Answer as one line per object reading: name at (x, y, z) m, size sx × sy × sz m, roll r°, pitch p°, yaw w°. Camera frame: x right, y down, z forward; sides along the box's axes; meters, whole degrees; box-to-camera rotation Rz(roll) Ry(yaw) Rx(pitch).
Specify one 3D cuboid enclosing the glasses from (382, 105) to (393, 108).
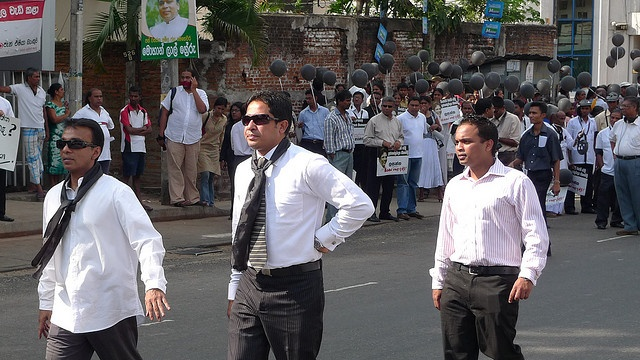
glasses at (1.547, -1.714, 16.624) m, size 0.243 × 0.075 × 0.101 m, roll 0°, pitch 8°, yaw 4°

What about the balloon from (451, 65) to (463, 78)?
balloon at (4.204, -3.329, 22.297) m, size 0.305 × 0.386 × 0.504 m, roll 1°, pitch 8°, yaw 10°

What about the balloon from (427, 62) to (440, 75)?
balloon at (3.584, -3.469, 22.483) m, size 0.374 × 0.395 × 0.360 m, roll -4°, pitch 9°, yaw 11°

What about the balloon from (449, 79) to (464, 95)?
balloon at (3.872, -2.679, 20.760) m, size 0.462 × 0.418 × 0.226 m, roll 2°, pitch -6°, yaw -6°

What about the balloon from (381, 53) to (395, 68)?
balloon at (2.012, -3.577, 21.601) m, size 0.415 × 0.443 × 0.393 m, roll 0°, pitch 0°, yaw -11°

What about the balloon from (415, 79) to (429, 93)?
balloon at (2.993, -2.742, 21.100) m, size 0.399 × 0.424 × 0.388 m, roll 3°, pitch 12°, yaw 16°

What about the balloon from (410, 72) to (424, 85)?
balloon at (2.988, -3.146, 22.234) m, size 0.387 × 0.362 × 0.414 m, roll -1°, pitch 6°, yaw 5°

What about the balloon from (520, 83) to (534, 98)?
balloon at (6.001, -2.609, 20.991) m, size 0.362 × 0.454 × 0.485 m, roll -10°, pitch -16°, yaw 34°

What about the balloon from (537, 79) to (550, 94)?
balloon at (6.899, -2.884, 22.263) m, size 0.457 × 0.480 × 0.444 m, roll 6°, pitch 11°, yaw 16°

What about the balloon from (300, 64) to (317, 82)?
balloon at (-0.309, -2.949, 19.750) m, size 0.423 × 0.467 × 0.399 m, roll -1°, pitch 26°, yaw 0°

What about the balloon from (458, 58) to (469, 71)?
balloon at (4.820, -3.844, 24.000) m, size 0.445 × 0.348 × 0.419 m, roll -2°, pitch -3°, yaw -5°

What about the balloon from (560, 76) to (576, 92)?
balloon at (7.971, -3.150, 23.224) m, size 0.502 × 0.311 × 0.486 m, roll 7°, pitch -6°, yaw 13°

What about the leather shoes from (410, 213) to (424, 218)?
leather shoes at (2.396, 0.853, 17.608) m, size 0.374 × 0.146 × 0.120 m, roll 4°, pitch 17°, yaw -4°

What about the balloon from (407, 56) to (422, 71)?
balloon at (2.928, -3.622, 22.477) m, size 0.406 × 0.492 × 0.686 m, roll 0°, pitch 8°, yaw 5°

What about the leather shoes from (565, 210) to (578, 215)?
leather shoes at (6.569, 0.835, 18.855) m, size 0.283 × 0.108 × 0.111 m, roll 0°, pitch 3°, yaw 22°

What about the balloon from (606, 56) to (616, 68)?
balloon at (11.086, -4.517, 27.586) m, size 0.422 × 0.499 × 0.534 m, roll 4°, pitch 7°, yaw 10°

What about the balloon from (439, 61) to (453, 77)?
balloon at (3.989, -3.486, 22.667) m, size 0.438 × 0.470 × 0.415 m, roll -1°, pitch -6°, yaw -3°

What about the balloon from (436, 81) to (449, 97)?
balloon at (3.523, -2.612, 20.769) m, size 0.369 × 0.292 × 0.384 m, roll -12°, pitch 43°, yaw 38°

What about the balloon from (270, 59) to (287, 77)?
balloon at (-1.086, -3.045, 19.698) m, size 0.486 × 0.534 × 0.461 m, roll -10°, pitch 20°, yaw -21°

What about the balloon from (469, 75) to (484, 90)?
balloon at (4.681, -2.929, 21.597) m, size 0.447 × 0.405 × 0.235 m, roll 10°, pitch 2°, yaw 3°

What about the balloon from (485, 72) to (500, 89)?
balloon at (5.261, -3.041, 22.090) m, size 0.429 × 0.516 × 0.527 m, roll 1°, pitch 8°, yaw 12°

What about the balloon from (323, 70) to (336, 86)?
balloon at (0.289, -2.792, 19.654) m, size 0.381 × 0.401 × 0.367 m, roll -3°, pitch 4°, yaw 10°

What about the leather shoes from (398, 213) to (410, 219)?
leather shoes at (2.014, 0.866, 17.384) m, size 0.125 × 0.101 × 0.252 m, roll 1°, pitch -3°, yaw -29°

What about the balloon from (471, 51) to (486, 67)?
balloon at (5.358, -4.113, 24.412) m, size 0.498 × 0.343 × 0.488 m, roll -3°, pitch 5°, yaw 21°

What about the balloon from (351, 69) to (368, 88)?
balloon at (1.088, -2.779, 19.592) m, size 0.475 × 0.505 × 0.452 m, roll -6°, pitch 24°, yaw 5°

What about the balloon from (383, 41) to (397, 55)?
balloon at (2.245, -4.183, 23.091) m, size 0.487 × 0.512 × 0.465 m, roll 4°, pitch -8°, yaw 5°

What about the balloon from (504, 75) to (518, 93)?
balloon at (5.858, -2.970, 22.238) m, size 0.510 × 0.537 × 0.485 m, roll -2°, pitch 5°, yaw 1°
